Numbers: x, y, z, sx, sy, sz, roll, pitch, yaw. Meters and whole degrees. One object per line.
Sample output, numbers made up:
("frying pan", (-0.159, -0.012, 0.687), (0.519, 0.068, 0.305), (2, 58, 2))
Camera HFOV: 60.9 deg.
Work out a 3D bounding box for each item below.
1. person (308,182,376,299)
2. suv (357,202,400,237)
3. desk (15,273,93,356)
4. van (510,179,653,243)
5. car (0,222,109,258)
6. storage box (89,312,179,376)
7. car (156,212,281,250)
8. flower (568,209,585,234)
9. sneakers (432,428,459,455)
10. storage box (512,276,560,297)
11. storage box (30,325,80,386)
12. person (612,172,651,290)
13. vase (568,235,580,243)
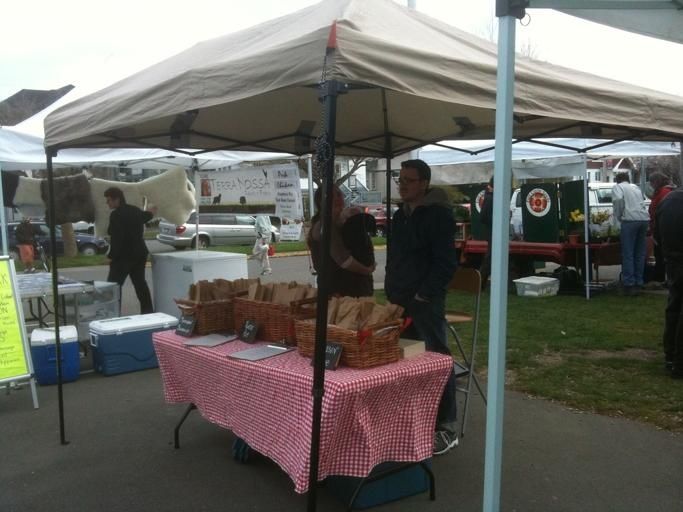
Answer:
("person", (0.007, -0.117, 5.685), (0.696, 1.114, 1.541), (1, 6, -3))
("suv", (1.393, -1.516, 27.756), (1.517, 1.579, 2.753), (-4, 3, 22))
("desk", (-3.624, 0.748, 7.375), (0.585, 0.536, 1.035), (-5, 8, -34))
("van", (4.431, -0.802, 10.873), (2.242, 1.255, 1.266), (-5, 6, -8))
("car", (-8.077, -0.439, 16.245), (2.316, 0.837, 1.051), (-4, 4, -23))
("storage box", (-2.629, 1.083, 7.461), (0.978, 0.660, 0.549), (-5, 13, -36))
("car", (-4.015, -0.779, 18.552), (2.599, 0.924, 1.159), (-7, 7, -35))
("flower", (4.244, -0.639, 10.576), (0.368, 0.458, 0.334), (2, -2, -42))
("sneakers", (0.902, 1.625, 5.112), (0.111, 0.131, 0.303), (-9, -10, 40))
("storage box", (3.681, 0.575, 10.982), (0.746, 0.326, 0.543), (-3, 7, -35))
("storage box", (-3.399, 1.196, 7.017), (0.507, 0.538, 0.684), (-8, 7, -25))
("person", (5.293, -0.338, 10.755), (0.611, 1.990, 0.865), (3, 6, 26))
("vase", (4.227, -0.319, 10.543), (0.255, 0.168, 0.195), (1, 6, 4))
